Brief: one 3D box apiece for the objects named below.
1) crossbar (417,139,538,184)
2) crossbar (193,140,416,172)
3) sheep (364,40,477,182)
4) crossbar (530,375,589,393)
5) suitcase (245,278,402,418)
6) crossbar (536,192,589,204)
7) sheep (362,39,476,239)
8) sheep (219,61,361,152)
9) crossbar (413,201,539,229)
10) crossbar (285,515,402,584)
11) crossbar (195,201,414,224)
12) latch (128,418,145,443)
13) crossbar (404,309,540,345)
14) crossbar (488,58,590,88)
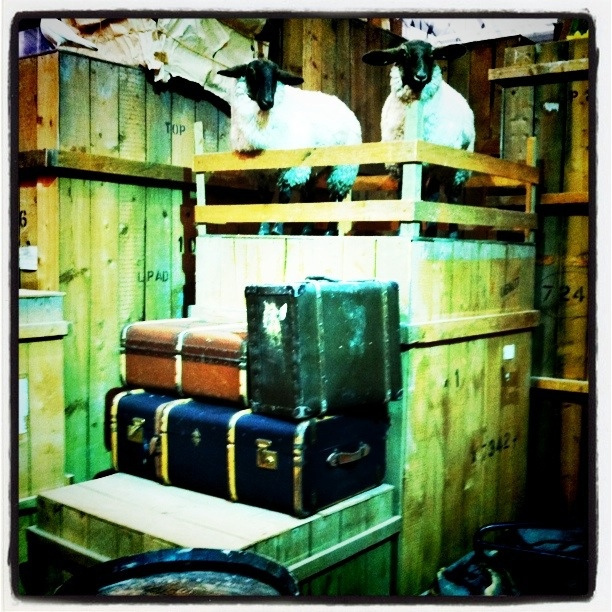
[{"bbox_3d":[0.848,-0.684,4.372,0.080,0.151,1.292,2,6,34],"label":"crossbar"},{"bbox_3d":[-0.031,-0.693,4.253,1.276,0.094,0.152,4,7,38],"label":"crossbar"},{"bbox_3d":[0.633,-0.971,5.092,0.449,0.871,0.968,1,2,11],"label":"sheep"},{"bbox_3d":[1.370,0.416,4.965,0.293,0.082,0.107,2,5,18],"label":"crossbar"},{"bbox_3d":[0.093,0.151,3.724,0.576,0.570,0.318,-4,3,-42],"label":"suitcase"},{"bbox_3d":[1.368,-0.579,4.912,0.252,0.053,0.030,3,5,30],"label":"crossbar"},{"bbox_3d":[0.661,-1.000,5.149,0.461,0.983,1.030,1,12,13],"label":"sheep"},{"bbox_3d":[-0.032,-1.048,5.013,0.555,0.590,0.920,15,20,38],"label":"sheep"},{"bbox_3d":[0.842,-0.447,4.485,0.701,0.115,0.056,-4,-7,-45],"label":"crossbar"},{"bbox_3d":[0.173,0.980,3.673,0.035,0.114,0.691,3,7,43],"label":"crossbar"},{"bbox_3d":[-0.047,-0.430,4.222,1.264,0.098,0.203,5,8,43],"label":"crossbar"},{"bbox_3d":[-0.720,0.527,3.899,0.081,0.132,0.064,-2,-9,25],"label":"latch"},{"bbox_3d":[0.818,0.091,4.338,0.039,0.130,1.223,3,7,40],"label":"crossbar"},{"bbox_3d":[1.296,-1.293,5.078,0.589,0.113,0.161,5,7,42],"label":"crossbar"}]
